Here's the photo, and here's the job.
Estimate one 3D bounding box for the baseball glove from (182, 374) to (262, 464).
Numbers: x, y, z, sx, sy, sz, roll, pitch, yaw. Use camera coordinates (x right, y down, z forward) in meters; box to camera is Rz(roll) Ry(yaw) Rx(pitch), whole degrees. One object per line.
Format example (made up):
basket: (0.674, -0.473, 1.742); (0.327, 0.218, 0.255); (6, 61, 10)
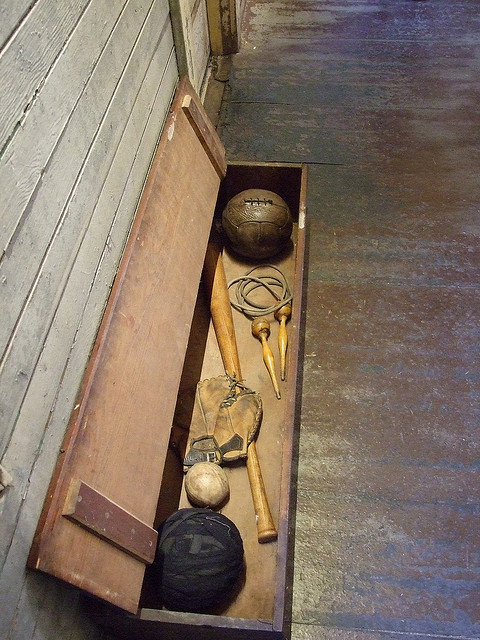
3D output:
baseball glove: (-0.092, 0.493, 2.308); (0.320, 0.163, 0.549); (4, 39, 10)

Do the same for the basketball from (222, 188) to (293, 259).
basketball: (0.108, -0.539, 2.854); (0.349, 0.347, 0.437); (1, 48, 5)

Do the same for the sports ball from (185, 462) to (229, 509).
sports ball: (-0.148, 0.655, 2.059); (0.122, 0.185, 0.169); (-7, 2, -23)
